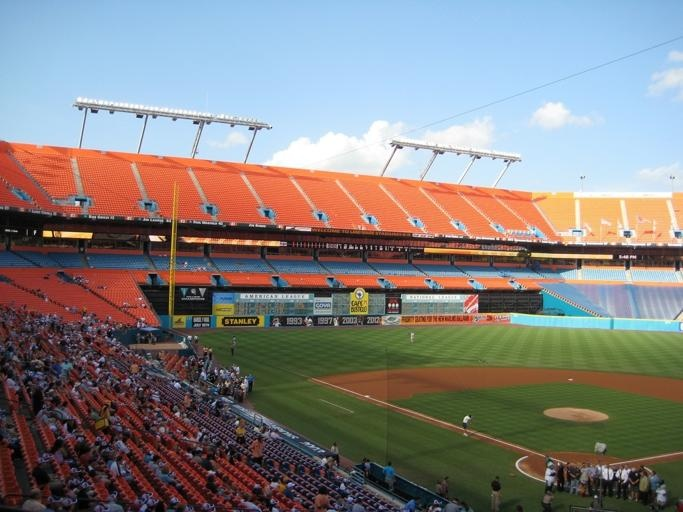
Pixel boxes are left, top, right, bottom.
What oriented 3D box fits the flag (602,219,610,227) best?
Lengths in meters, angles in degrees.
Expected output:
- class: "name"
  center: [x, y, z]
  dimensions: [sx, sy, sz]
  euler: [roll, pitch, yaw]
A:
- class: "flag"
  center: [41.144, -5.204, 98.001]
  dimensions: [1.170, 1.146, 1.153]
  euler: [-2, -7, 19]
